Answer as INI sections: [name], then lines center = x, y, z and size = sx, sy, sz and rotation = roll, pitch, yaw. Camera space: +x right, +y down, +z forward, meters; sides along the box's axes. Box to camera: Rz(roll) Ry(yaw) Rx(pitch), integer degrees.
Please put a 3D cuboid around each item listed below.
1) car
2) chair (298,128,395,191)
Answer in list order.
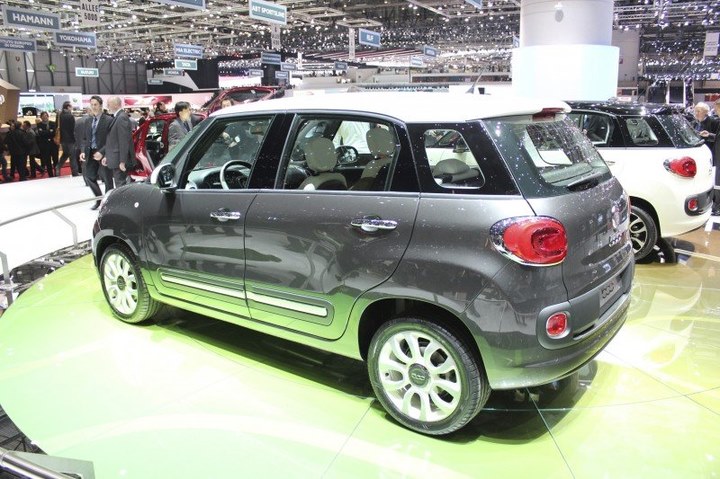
[car]
center = -0.071, -0.173, 4.064
size = 4.154, 1.813, 2.321
rotation = 11, 19, 29
[chair]
center = -0.065, -0.638, 3.617
size = 0.694, 0.701, 0.413
rotation = 7, 14, 21
